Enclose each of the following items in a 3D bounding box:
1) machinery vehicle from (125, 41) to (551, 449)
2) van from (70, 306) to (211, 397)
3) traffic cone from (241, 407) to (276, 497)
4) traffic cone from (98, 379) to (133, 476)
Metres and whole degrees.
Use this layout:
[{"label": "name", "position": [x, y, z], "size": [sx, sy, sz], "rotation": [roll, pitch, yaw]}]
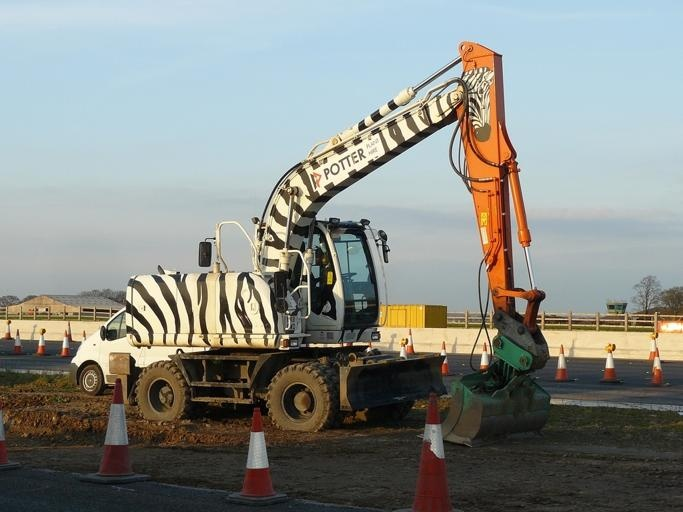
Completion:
[{"label": "machinery vehicle", "position": [-0.029, 0.692, 20.602], "size": [10.439, 7.977, 3.971], "rotation": [-3, -4, 31]}, {"label": "van", "position": [-4.618, 2.207, 21.029], "size": [3.464, 1.848, 1.725], "rotation": [2, 1, 27]}, {"label": "traffic cone", "position": [-1.024, 2.479, 12.688], "size": [0.439, 1.093, 0.548], "rotation": [1, -5, -4]}, {"label": "traffic cone", "position": [-3.001, 2.350, 13.569], "size": [0.435, 1.176, 0.549], "rotation": [2, -5, -12]}]
